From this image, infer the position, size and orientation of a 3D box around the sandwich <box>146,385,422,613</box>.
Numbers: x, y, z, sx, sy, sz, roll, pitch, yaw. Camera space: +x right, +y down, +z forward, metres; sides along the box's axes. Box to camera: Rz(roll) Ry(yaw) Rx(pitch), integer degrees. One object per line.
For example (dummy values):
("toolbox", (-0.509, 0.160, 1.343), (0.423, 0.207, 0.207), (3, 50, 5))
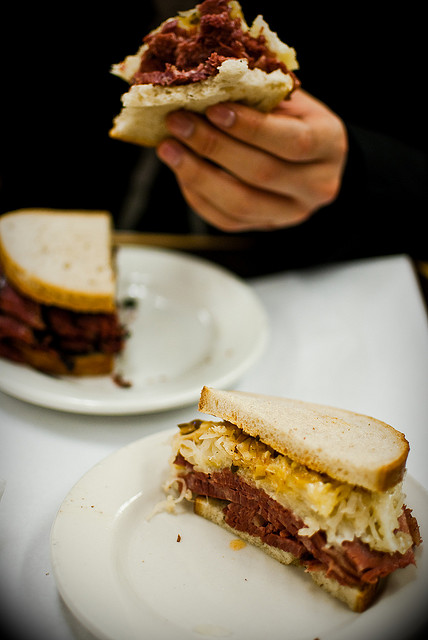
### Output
("sandwich", (0.084, 0.255, 0.836), (0.318, 0.138, 0.290), (5, 12, -12))

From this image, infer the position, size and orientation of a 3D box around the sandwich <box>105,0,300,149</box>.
("sandwich", (-0.030, -0.399, 1.053), (0.347, 0.297, 0.310), (7, 36, 5))

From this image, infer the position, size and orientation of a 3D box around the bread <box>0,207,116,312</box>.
("bread", (-0.278, -0.097, 1.075), (0.218, 0.050, 0.206), (10, 53, -21))
